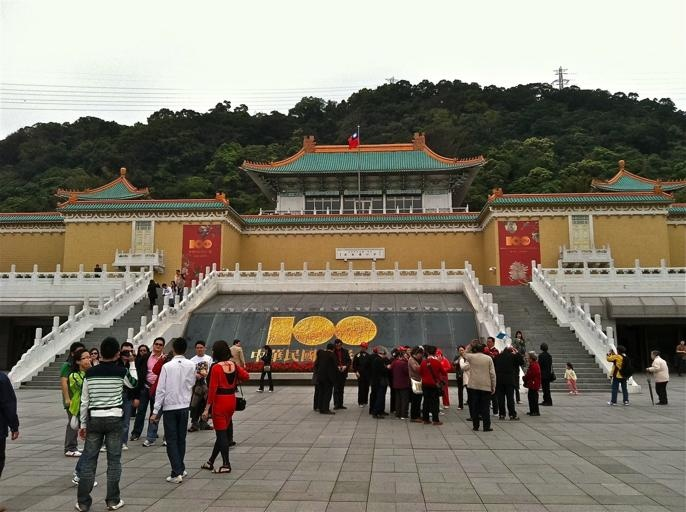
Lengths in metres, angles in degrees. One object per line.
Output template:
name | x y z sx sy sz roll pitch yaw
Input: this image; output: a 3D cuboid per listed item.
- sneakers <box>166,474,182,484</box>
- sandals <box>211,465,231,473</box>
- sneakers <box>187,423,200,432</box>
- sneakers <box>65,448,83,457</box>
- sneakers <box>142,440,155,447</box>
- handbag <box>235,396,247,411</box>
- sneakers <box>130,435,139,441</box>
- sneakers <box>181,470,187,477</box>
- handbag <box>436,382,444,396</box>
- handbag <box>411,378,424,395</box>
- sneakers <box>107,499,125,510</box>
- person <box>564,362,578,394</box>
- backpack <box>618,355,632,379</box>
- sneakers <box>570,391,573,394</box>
sneakers | -2.433 3.235 8.045 0.239 0.113 0.097 4 -6 14
sandals | -1.845 3.236 8.412 0.229 0.094 0.120 6 -14 0
sneakers | -2.990 3.426 11.114 0.230 0.148 0.180 -1 -5 3
sneakers | -4.543 3.309 9.340 0.326 0.113 0.094 -1 -5 5
sneakers | -3.517 3.400 10.063 0.086 0.102 0.219 -7 -24 26
handbag | -1.688 2.452 9.143 0.124 0.254 0.640 0 -5 -8
sneakers | -3.927 3.416 10.473 0.148 0.093 0.272 1 -5 -23
sneakers | -2.356 3.236 8.249 0.052 0.068 0.158 3 -3 -1
handbag | 1.995 2.738 11.453 0.095 0.275 0.237 -3 -5 18
handbag | 1.521 2.743 11.688 0.219 0.302 0.097 7 -4 -11
sneakers | -2.973 3.265 7.304 0.075 0.085 0.196 -1 -2 13
person | 6.501 3.459 15.939 0.315 0.850 1.179 -3 -5 22
backpack | 7.126 2.807 14.063 0.200 0.641 0.501 -5 -6 34
sneakers | 6.362 3.818 15.550 0.085 0.054 0.134 3 -6 -38
